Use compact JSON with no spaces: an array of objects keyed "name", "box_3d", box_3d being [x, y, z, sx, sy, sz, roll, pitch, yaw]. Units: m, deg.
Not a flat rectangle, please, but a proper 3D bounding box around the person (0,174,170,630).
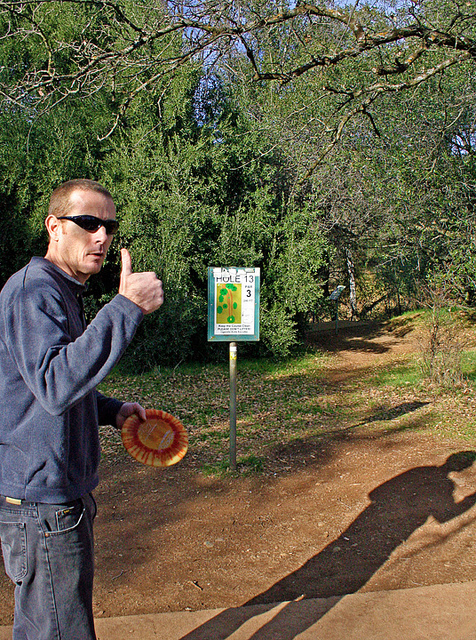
[{"name":"person","box_3d":[-0.831,0.408,3.838,0.716,1.751,0.549,-2,-1,-19]}]
